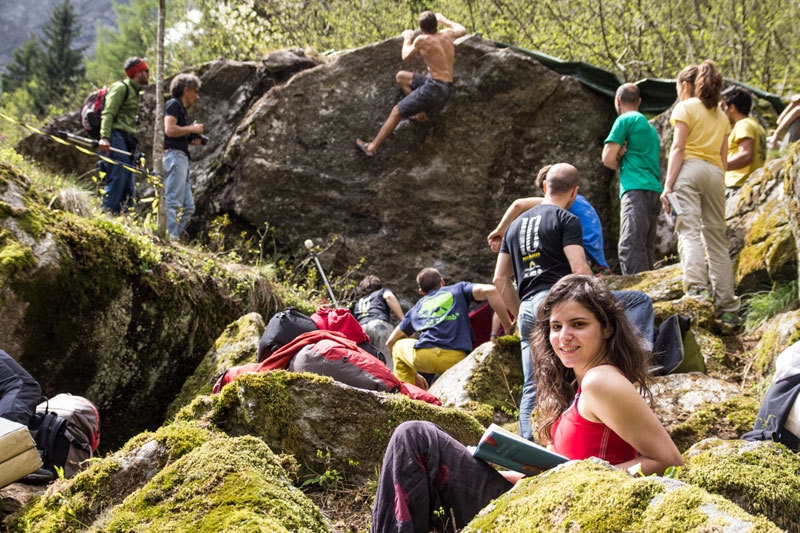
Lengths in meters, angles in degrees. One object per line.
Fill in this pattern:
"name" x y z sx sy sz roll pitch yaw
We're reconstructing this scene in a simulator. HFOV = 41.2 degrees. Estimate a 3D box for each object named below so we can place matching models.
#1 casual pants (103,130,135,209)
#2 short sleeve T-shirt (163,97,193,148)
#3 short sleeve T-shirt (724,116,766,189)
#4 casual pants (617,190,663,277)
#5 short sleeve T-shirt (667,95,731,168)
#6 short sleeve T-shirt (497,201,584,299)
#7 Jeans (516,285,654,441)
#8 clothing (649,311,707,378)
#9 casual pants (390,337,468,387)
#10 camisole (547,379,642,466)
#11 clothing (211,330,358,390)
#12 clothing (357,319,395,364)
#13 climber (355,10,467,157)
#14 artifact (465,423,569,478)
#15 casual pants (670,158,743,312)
"casual pants" -4.654 -1.574 17.549 0.529 1.378 0.939 -3 5 -16
"short sleeve T-shirt" -3.784 -2.431 18.054 0.395 0.830 0.780 5 -2 -4
"short sleeve T-shirt" 5.451 -1.803 16.759 0.527 1.062 0.987 5 12 37
"casual pants" 3.715 -0.556 16.452 0.710 1.307 0.526 -6 7 -40
"short sleeve T-shirt" 4.476 -2.010 15.754 1.064 1.259 0.658 2 0 -9
"short sleeve T-shirt" 1.852 -0.297 14.502 1.076 1.385 0.639 1 18 25
"Jeans" 2.193 1.196 12.685 1.493 2.208 0.658 -4 -14 18
"clothing" 3.857 1.159 14.794 0.608 0.921 0.316 -2 -22 15
"casual pants" 0.284 1.499 16.351 1.065 0.639 0.865 -11 -13 30
"camisole" 2.315 2.007 12.623 0.998 1.127 0.769 4 -18 14
"clothing" -1.557 1.284 14.342 1.935 0.765 0.815 -3 5 -12
"clothing" -0.363 1.172 16.226 0.180 0.286 0.595 -17 38 -6
"climber" 0.352 -3.381 19.289 1.727 2.388 0.952 -1 5 9
"artifact" 1.362 2.166 12.273 0.800 0.297 0.614 28 -24 -14
"casual pants" 4.459 -0.481 15.533 0.904 2.266 0.535 -2 5 -7
